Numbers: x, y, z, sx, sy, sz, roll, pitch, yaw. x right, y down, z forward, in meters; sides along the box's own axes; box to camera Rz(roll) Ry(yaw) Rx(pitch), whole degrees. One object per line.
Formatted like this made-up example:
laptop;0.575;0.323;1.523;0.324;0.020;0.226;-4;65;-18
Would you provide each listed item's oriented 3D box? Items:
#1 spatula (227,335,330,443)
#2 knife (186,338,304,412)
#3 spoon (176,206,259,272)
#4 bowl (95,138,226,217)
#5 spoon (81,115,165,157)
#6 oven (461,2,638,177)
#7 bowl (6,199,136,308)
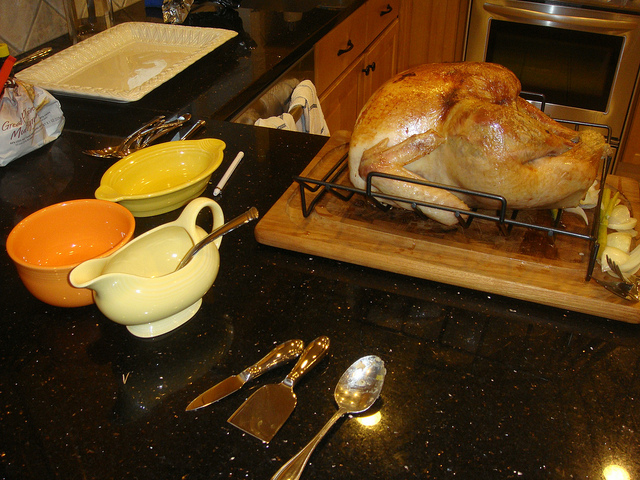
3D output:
spatula;-0.049;0.208;0.723;0.066;0.031;0.183;27;47;25
knife;-0.110;0.204;0.735;0.147;0.018;0.026;-28;42;-27
spoon;-0.168;-0.003;0.791;0.144;0.065;0.038;-23;47;-26
bowl;-0.322;-0.128;1.036;0.269;0.090;0.169;-15;45;-19
spoon;-0.481;-0.252;1.213;0.199;0.028;0.033;-40;50;-24
oven;1.172;-0.801;2.540;0.919;0.752;0.301;13;41;12
bowl;-0.408;0.026;0.819;0.146;0.088;0.160;4;30;-2
